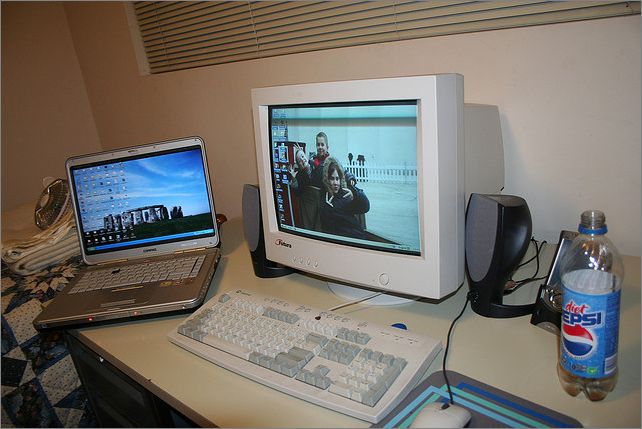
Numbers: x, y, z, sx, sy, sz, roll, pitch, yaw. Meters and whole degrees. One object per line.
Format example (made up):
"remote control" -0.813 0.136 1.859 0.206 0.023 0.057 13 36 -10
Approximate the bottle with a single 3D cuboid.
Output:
"bottle" 0.645 0.204 1.103 0.132 0.428 0.205 4 16 31

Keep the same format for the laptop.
"laptop" -0.614 0.043 1.465 0.557 0.420 0.453 -10 20 -2

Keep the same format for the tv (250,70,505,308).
"tv" 0.231 -0.146 1.562 0.686 0.603 0.694 8 21 33

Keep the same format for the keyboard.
"keyboard" -0.060 0.350 1.239 0.687 0.198 0.278 4 16 30
